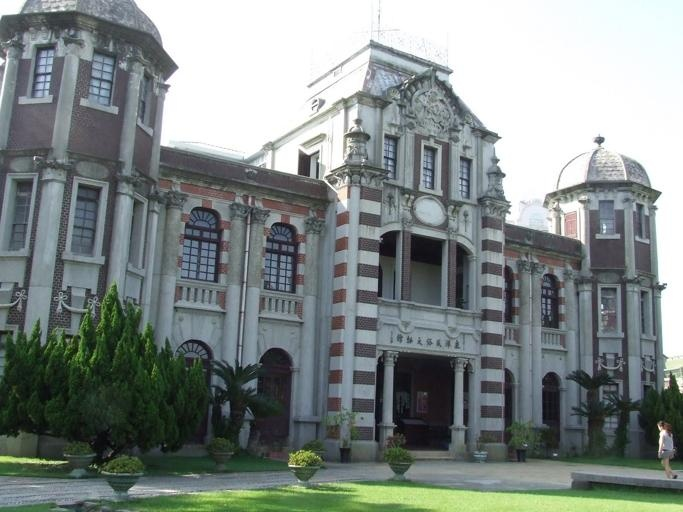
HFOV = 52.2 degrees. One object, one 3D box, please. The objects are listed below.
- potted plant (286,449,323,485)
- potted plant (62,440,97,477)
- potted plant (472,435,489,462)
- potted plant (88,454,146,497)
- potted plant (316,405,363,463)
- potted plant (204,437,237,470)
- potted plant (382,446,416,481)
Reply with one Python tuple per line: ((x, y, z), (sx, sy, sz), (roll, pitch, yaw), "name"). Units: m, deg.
((-1.100, 6.297, 21.057), (1.105, 1.079, 1.124), (1, -23, 0), "potted plant")
((-7.668, 5.906, 20.293), (0.857, 0.922, 0.892), (-2, -10, 6), "potted plant")
((6.444, 8.891, 32.184), (0.644, 1.216, 0.978), (-1, -16, 11), "potted plant")
((-5.418, 5.438, 17.222), (0.990, 0.945, 0.779), (2, -16, -2), "potted plant")
((-0.015, 7.482, 29.243), (1.371, 2.280, 1.040), (1, -16, 4), "potted plant")
((-4.135, 6.709, 23.555), (0.832, 1.038, 0.551), (4, -16, -6), "potted plant")
((1.985, 6.900, 23.335), (1.142, 1.229, 1.140), (1, -15, 9), "potted plant")
